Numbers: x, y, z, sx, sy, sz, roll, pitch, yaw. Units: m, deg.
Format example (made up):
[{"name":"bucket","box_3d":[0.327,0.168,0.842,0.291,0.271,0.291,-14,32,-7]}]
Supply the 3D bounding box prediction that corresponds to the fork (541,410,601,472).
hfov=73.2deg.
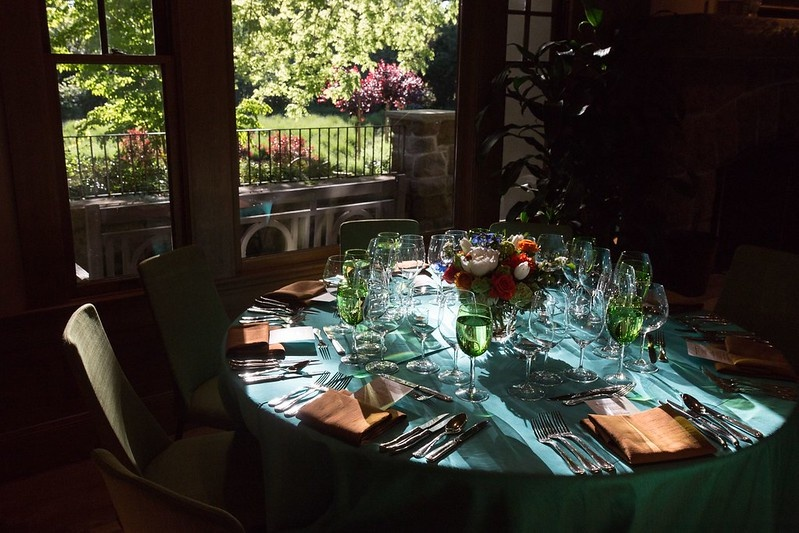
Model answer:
[{"name":"fork","box_3d":[0.518,0.552,1.704,0.051,0.052,0.328,-4,19,-12]}]

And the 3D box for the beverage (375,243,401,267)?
[{"name":"beverage","box_3d":[-0.052,-0.066,2.525,0.107,0.105,0.108,0,11,-4]}]

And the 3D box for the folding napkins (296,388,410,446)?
[{"name":"folding napkins","box_3d":[-0.158,0.497,1.828,0.328,0.070,0.342,-2,9,-39]}]

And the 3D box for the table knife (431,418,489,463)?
[{"name":"table knife","box_3d":[0.187,0.555,1.692,0.032,0.024,0.222,26,32,36]}]

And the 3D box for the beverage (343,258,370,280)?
[{"name":"beverage","box_3d":[-0.185,0.005,2.289,0.101,0.101,0.103,4,12,9]}]

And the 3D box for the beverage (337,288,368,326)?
[{"name":"beverage","box_3d":[-0.182,0.150,2.089,0.100,0.164,0.099,18,24,29]}]

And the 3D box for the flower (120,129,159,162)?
[{"name":"flower","box_3d":[-1.568,-0.726,3.238,0.192,0.142,0.184,-8,43,-21]}]

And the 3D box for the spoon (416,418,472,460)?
[{"name":"spoon","box_3d":[0.139,0.539,1.709,0.060,0.047,0.277,14,25,29]}]

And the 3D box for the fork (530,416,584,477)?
[{"name":"fork","box_3d":[0.483,0.562,1.683,0.051,0.038,0.250,-8,31,-11]}]

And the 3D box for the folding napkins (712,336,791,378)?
[{"name":"folding napkins","box_3d":[1.372,0.345,2.079,0.179,0.051,0.196,7,9,32]}]

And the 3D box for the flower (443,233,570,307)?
[{"name":"flower","box_3d":[0.442,-0.037,2.206,0.354,0.213,0.351,0,7,-34]}]

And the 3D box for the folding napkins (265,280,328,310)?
[{"name":"folding napkins","box_3d":[-0.477,0.118,2.598,0.161,0.046,0.190,2,15,18]}]

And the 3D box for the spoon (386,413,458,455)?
[{"name":"spoon","box_3d":[0.078,0.531,1.725,0.077,0.038,0.342,16,22,35]}]

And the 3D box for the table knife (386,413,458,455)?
[{"name":"table knife","box_3d":[0.078,0.531,1.726,0.077,0.038,0.342,16,22,35]}]

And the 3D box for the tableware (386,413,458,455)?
[{"name":"tableware","box_3d":[0.078,0.530,1.727,0.077,0.038,0.342,16,22,35]}]
